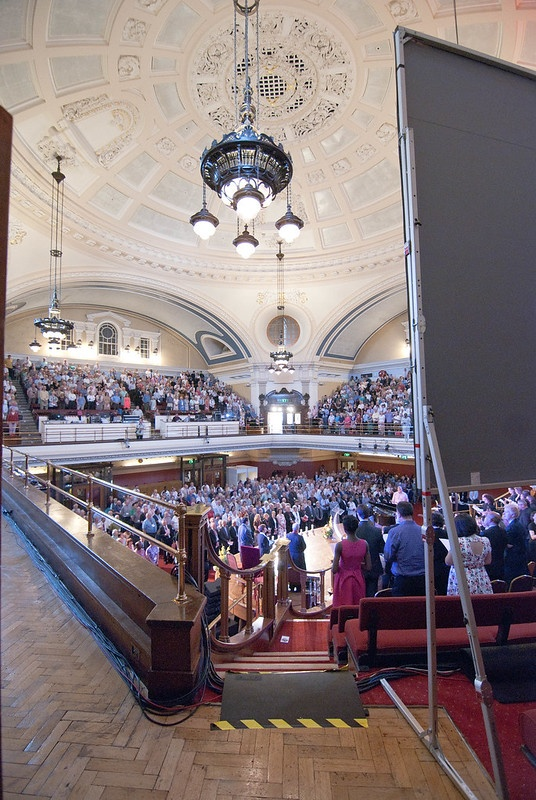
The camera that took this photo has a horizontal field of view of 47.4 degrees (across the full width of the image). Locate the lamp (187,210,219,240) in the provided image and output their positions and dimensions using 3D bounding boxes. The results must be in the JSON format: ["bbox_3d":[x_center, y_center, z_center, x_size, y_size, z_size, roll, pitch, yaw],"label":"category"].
[{"bbox_3d":[-0.683,-1.904,6.496,0.245,0.296,0.521,-1,8,-8],"label":"lamp"}]

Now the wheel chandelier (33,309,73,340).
[{"bbox_3d":[-4.046,-1.388,11.470,0.527,0.471,0.644,1,8,3],"label":"wheel chandelier"}]

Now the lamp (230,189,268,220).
[{"bbox_3d":[-0.190,-1.819,5.590,0.218,0.207,0.226,-3,-45,3],"label":"lamp"}]

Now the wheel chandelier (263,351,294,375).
[{"bbox_3d":[0.326,-0.992,15.709,0.804,1.022,0.760,-1,3,6],"label":"wheel chandelier"}]

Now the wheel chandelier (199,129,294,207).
[{"bbox_3d":[-0.226,-2.079,5.589,0.717,0.804,0.741,-2,-4,11],"label":"wheel chandelier"}]
